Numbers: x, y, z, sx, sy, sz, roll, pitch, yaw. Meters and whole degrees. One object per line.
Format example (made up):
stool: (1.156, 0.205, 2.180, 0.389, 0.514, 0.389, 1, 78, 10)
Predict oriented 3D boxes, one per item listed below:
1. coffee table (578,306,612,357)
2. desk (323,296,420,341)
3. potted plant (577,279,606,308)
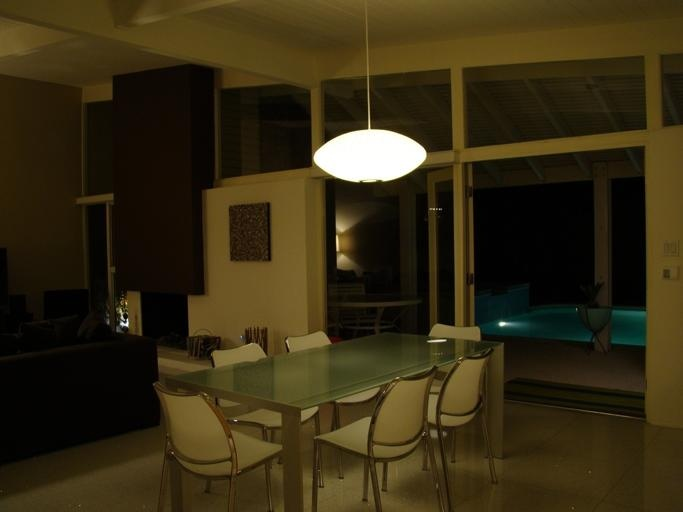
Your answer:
coffee table: (3.221, 0.912, 7.596, 0.396, 0.556, 0.464, -2, 1, -29)
desk: (0.331, 0.732, 7.146, 1.068, 0.498, 1.119, -2, 2, -22)
potted plant: (3.177, 0.473, 7.543, 0.262, 0.314, 0.275, 0, 4, 32)
